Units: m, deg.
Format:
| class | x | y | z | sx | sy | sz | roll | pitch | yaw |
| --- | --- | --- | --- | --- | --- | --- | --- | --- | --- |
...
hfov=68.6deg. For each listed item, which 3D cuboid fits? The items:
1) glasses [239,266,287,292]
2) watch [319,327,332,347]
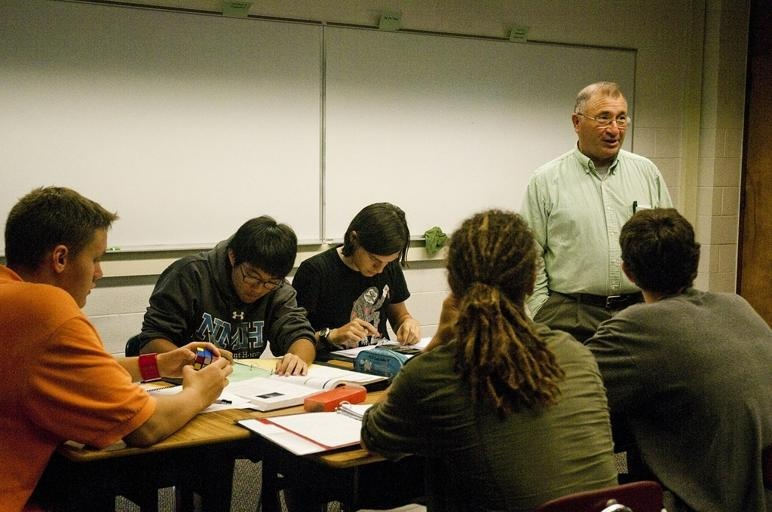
| class | x | y | z | sx | sy | sz | roll | pitch | yaw |
| --- | --- | --- | --- | --- | --- | --- | --- | --- | --- |
| glasses | -0.543 | 0.103 | 2.442 | 0.183 | 0.112 | 0.110 | 2 | 2 | -16 |
| watch | -0.288 | 0.383 | 2.691 | 0.052 | 0.072 | 0.066 | 9 | -10 | 13 |
